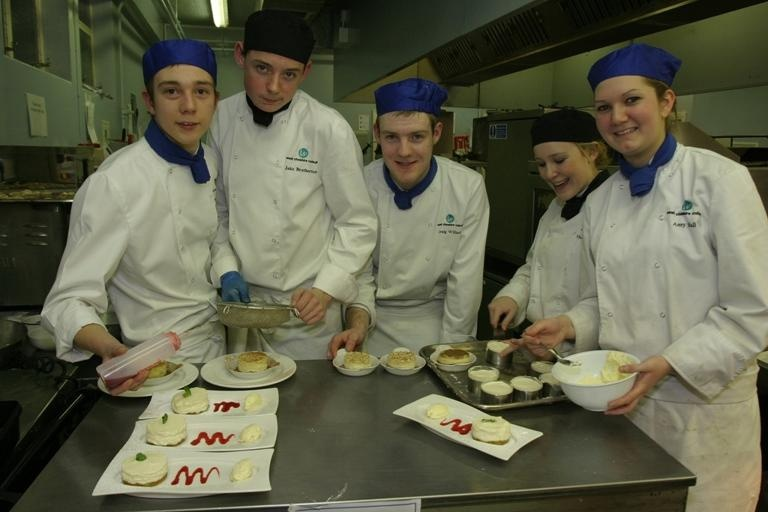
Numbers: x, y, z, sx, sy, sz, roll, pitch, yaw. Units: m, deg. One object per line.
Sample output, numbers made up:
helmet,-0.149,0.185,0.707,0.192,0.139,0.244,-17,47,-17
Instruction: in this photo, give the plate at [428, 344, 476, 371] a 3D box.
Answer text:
plate,0.278,0.396,2.444,0.188,0.065,0.260,-1,15,4

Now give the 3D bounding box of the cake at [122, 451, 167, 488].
cake,-0.723,0.638,1.796,0.109,0.057,0.102,1,4,0

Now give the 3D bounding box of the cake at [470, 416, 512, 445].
cake,0.351,0.566,1.948,0.090,0.037,0.087,1,2,6

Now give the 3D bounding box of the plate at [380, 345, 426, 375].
plate,0.074,0.413,2.354,0.178,0.063,0.130,-3,15,-4

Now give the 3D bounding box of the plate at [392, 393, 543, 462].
plate,0.261,0.565,2.006,0.346,0.040,0.208,16,21,35

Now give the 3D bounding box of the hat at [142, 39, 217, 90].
hat,-0.790,-0.768,2.298,0.243,0.120,0.220,4,43,0

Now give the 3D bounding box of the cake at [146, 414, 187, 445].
cake,-0.703,0.563,1.937,0.111,0.061,0.105,1,3,1

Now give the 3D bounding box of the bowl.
bowl,0.746,0.444,2.109,0.290,0.199,0.210,-4,16,-6

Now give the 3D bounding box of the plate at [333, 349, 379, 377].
plate,-0.118,0.412,2.358,0.194,0.052,0.167,3,16,19
